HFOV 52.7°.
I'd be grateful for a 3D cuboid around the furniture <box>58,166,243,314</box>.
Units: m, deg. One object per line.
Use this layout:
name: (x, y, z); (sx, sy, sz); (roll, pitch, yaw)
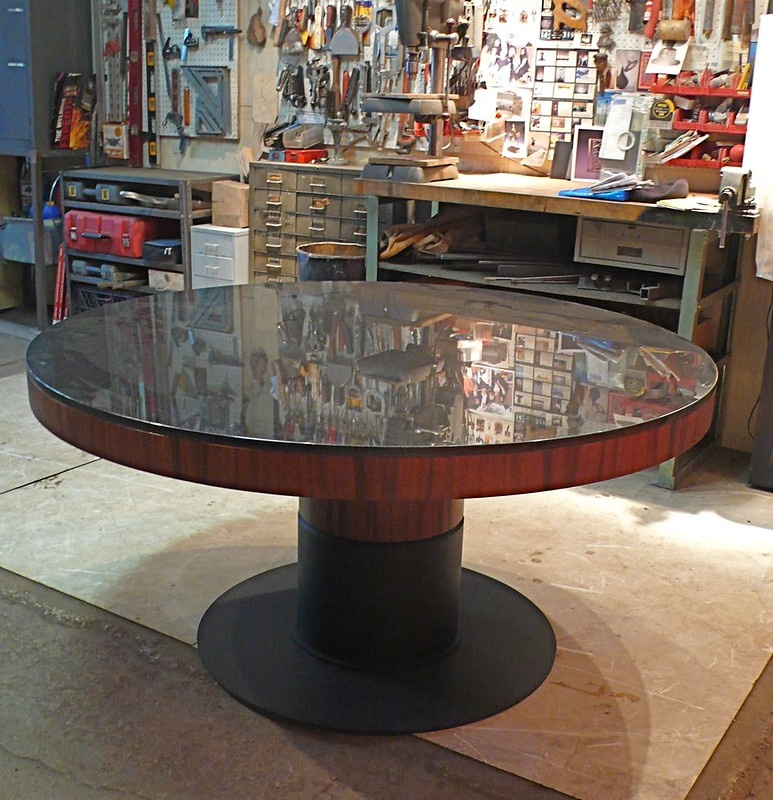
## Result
furniture: (-1.242, -0.852, 4.106); (1.052, 0.936, 0.478); (16, 23, 38)
